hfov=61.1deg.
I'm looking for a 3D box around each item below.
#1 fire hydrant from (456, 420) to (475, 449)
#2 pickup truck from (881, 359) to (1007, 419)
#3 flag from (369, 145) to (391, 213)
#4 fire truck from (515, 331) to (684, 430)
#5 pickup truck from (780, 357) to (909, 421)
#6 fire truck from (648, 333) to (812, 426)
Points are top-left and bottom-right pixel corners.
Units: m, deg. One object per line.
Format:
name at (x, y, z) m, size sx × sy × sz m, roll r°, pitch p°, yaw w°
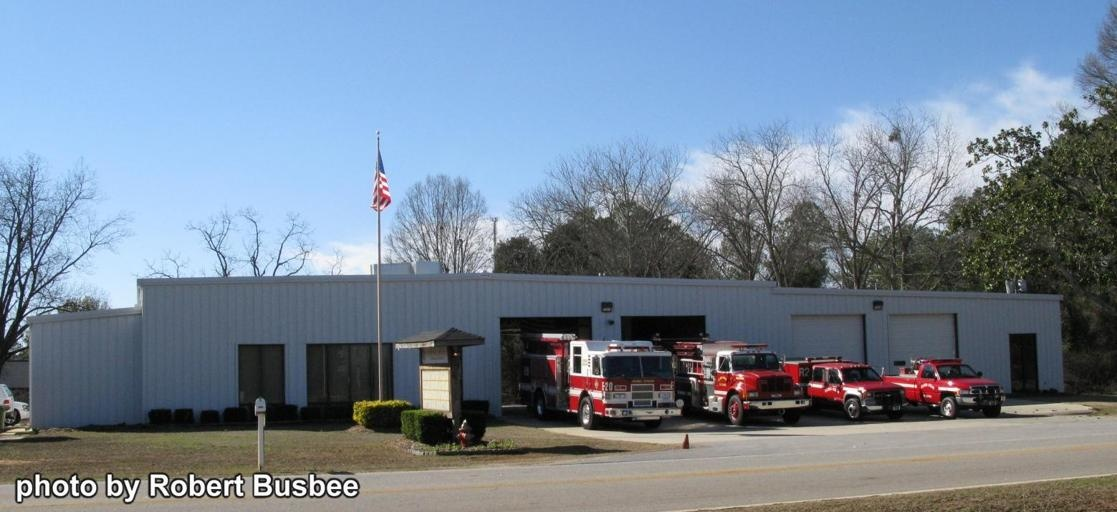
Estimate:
fire hydrant at (-5.232, 9.770, 52.900) m, size 0.898 × 1.405 × 1.161 m, roll -1°, pitch 10°, yaw -2°
pickup truck at (25.311, 8.569, 63.704) m, size 4.472 × 3.406 × 8.720 m, roll -1°, pitch -3°, yaw -26°
flag at (-11.283, -4.843, 60.192) m, size 1.116 × 4.449 × 0.687 m, roll -3°, pitch -21°, yaw -4°
fire truck at (2.001, 7.662, 58.877) m, size 5.284 × 4.811 × 14.057 m, roll 2°, pitch -4°, yaw -26°
pickup truck at (18.634, 8.294, 62.950) m, size 4.341 × 3.456 × 8.459 m, roll -8°, pitch 2°, yaw -30°
fire truck at (10.029, 8.006, 61.998) m, size 4.408 × 3.526 × 9.299 m, roll 3°, pitch -8°, yaw -26°
